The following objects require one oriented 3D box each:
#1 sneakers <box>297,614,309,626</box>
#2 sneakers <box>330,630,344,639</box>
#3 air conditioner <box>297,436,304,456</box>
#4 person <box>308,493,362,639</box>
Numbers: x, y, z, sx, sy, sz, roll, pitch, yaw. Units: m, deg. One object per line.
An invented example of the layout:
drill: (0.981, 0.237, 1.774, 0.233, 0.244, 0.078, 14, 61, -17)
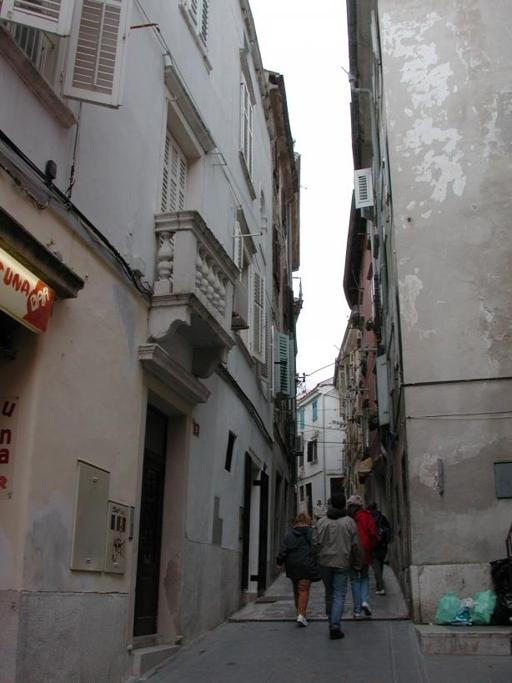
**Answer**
sneakers: (0.590, 3.630, 6.850, 0.064, 0.135, 0.242, -1, -27, 13)
sneakers: (0.901, 3.278, 5.888, 0.161, 0.097, 0.144, -4, -22, 0)
air conditioner: (2.088, 5.020, 25.500, 0.162, 1.008, 1.147, -5, -20, 12)
person: (0.990, 2.701, 6.421, 0.554, 1.604, 0.744, 3, -17, -17)
